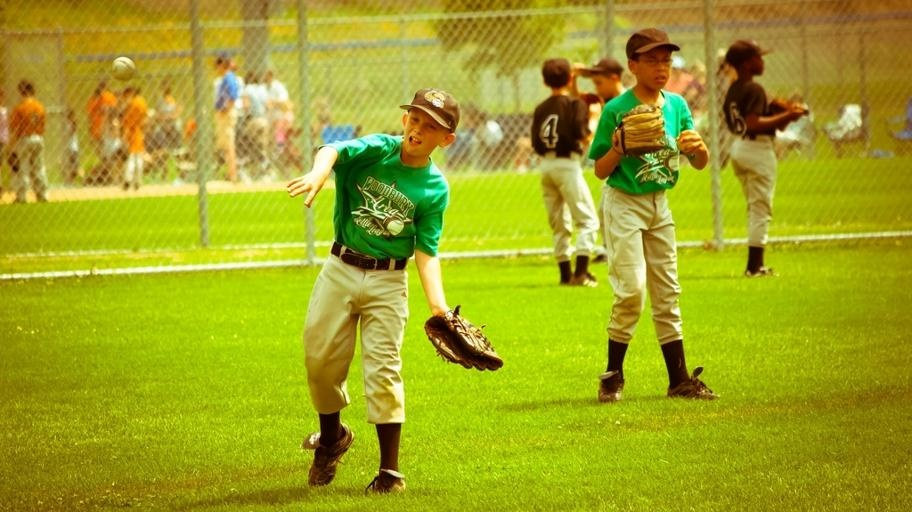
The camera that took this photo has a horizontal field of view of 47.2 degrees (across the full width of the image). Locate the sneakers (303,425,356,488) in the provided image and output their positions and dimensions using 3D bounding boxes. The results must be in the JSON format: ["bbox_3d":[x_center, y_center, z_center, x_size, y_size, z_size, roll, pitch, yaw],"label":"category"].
[{"bbox_3d":[-0.945,1.425,7.458,0.213,0.570,0.237,21,8,18],"label":"sneakers"}]

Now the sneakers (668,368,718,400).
[{"bbox_3d":[1.844,0.994,8.126,0.368,0.251,0.087,0,4,9],"label":"sneakers"}]

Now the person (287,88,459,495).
[{"bbox_3d":[-0.548,0.243,7.259,1.083,2.775,0.448,-1,4,-2],"label":"person"}]

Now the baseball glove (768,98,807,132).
[{"bbox_3d":[3.269,-1.411,10.260,0.375,0.340,0.459,1,4,18],"label":"baseball glove"}]

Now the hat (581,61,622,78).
[{"bbox_3d":[1.567,-1.982,11.033,0.344,0.157,0.201,-1,3,-7],"label":"hat"}]

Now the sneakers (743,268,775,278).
[{"bbox_3d":[2.929,0.164,10.051,0.083,0.095,0.233,0,-7,-31],"label":"sneakers"}]

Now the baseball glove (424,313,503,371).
[{"bbox_3d":[0.047,0.637,7.411,0.515,0.359,0.193,28,-16,-2],"label":"baseball glove"}]

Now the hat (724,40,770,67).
[{"bbox_3d":[2.825,-1.986,10.144,0.358,0.178,0.241,-19,17,15],"label":"hat"}]

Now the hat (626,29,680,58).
[{"bbox_3d":[1.484,-1.631,8.128,0.256,0.161,0.321,-10,-5,-30],"label":"hat"}]

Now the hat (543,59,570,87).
[{"bbox_3d":[1.081,-1.953,11.224,0.269,0.310,0.295,2,-38,6],"label":"hat"}]

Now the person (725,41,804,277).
[{"bbox_3d":[2.970,-0.961,10.266,0.618,2.288,0.794,-2,4,-18],"label":"person"}]

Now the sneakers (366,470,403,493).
[{"bbox_3d":[-0.477,1.575,7.235,0.285,0.112,0.124,-1,-4,-3],"label":"sneakers"}]

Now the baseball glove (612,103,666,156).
[{"bbox_3d":[1.414,-0.954,7.958,0.402,0.356,0.351,-4,6,29],"label":"baseball glove"}]

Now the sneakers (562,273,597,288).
[{"bbox_3d":[1.318,0.257,11.060,0.408,0.175,0.145,-3,0,11],"label":"sneakers"}]

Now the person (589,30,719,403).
[{"bbox_3d":[1.477,-0.328,8.185,0.864,2.900,0.425,0,4,5],"label":"person"}]
